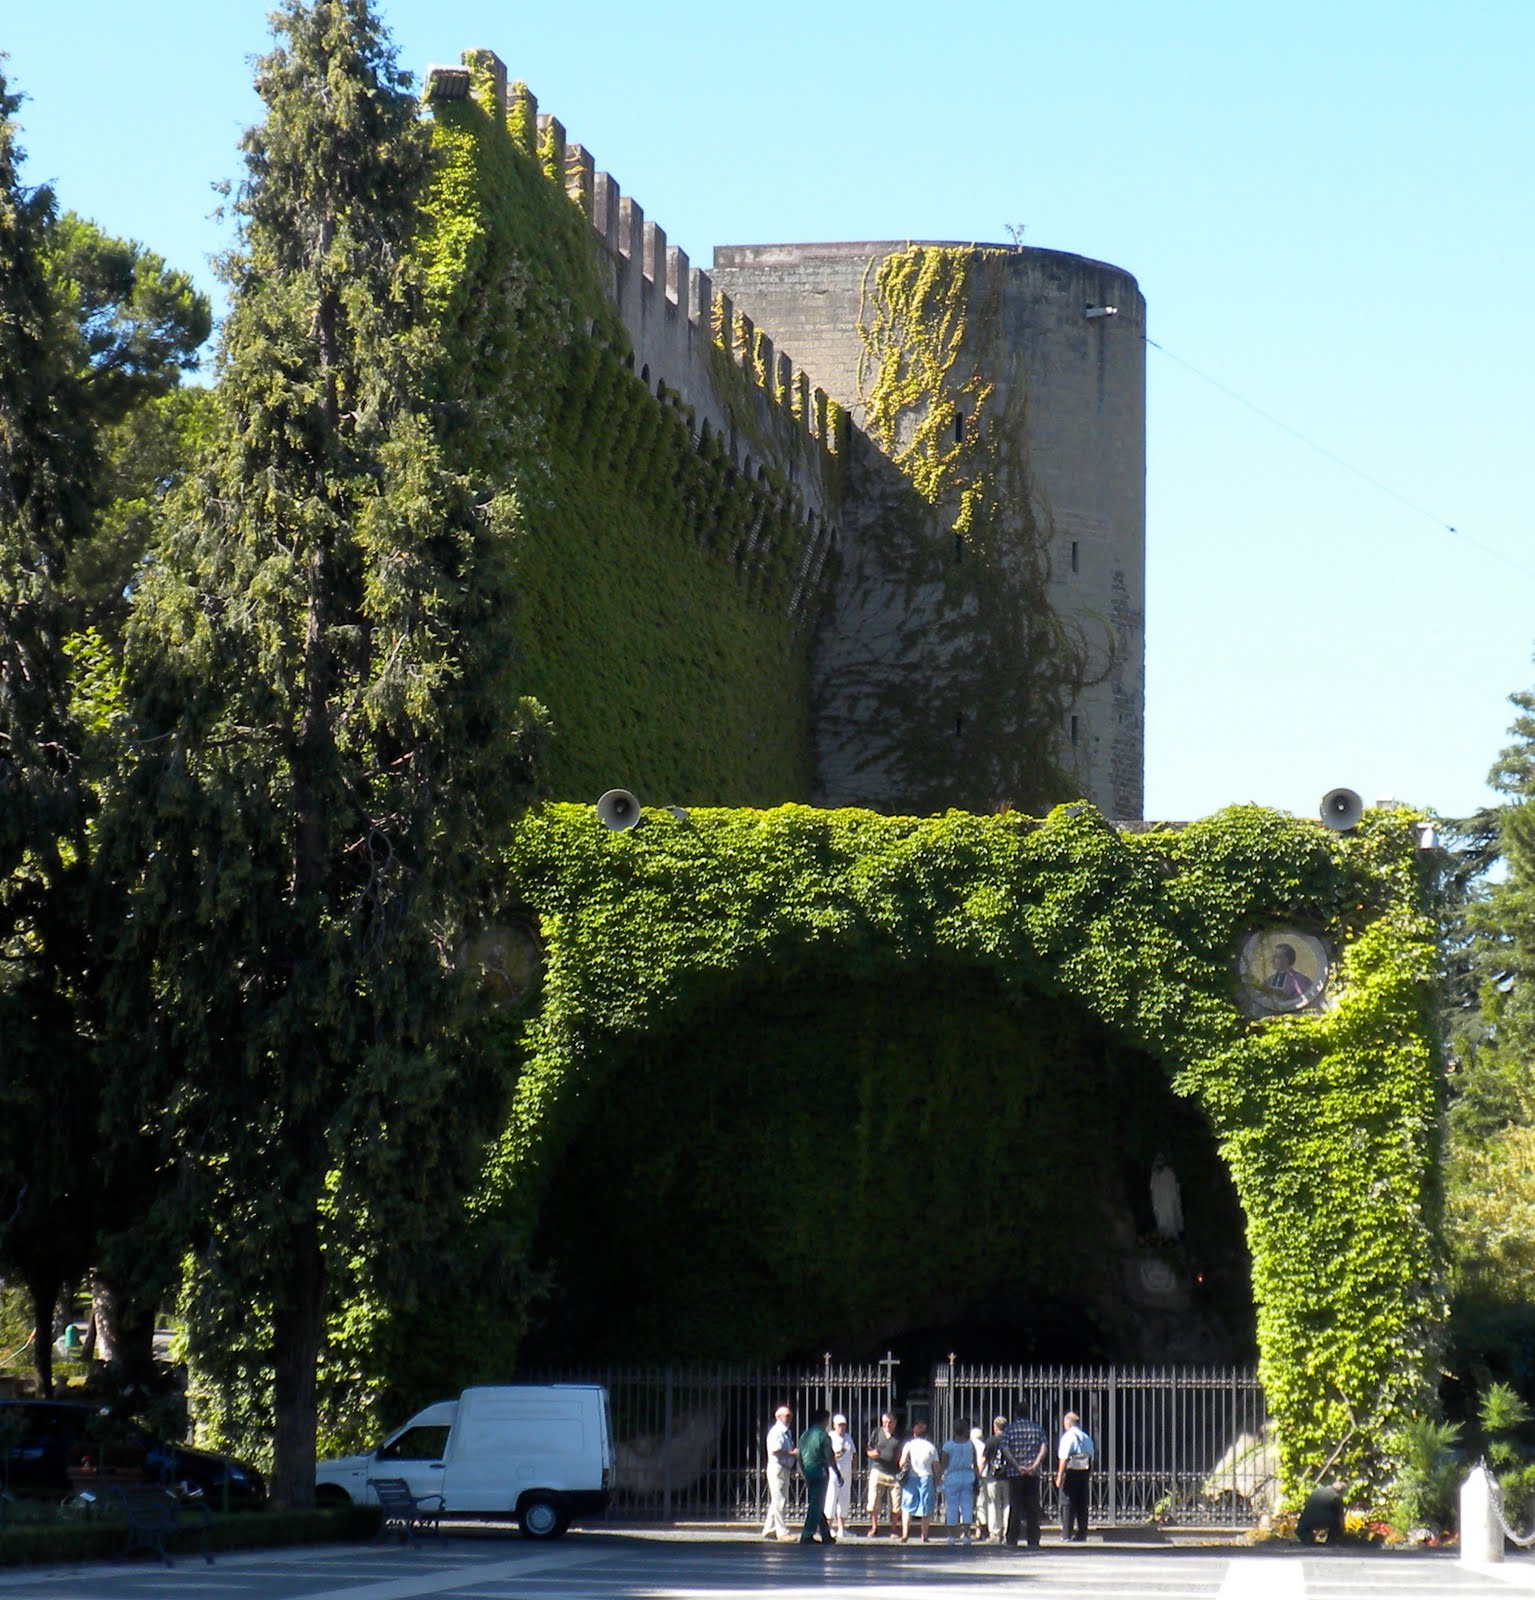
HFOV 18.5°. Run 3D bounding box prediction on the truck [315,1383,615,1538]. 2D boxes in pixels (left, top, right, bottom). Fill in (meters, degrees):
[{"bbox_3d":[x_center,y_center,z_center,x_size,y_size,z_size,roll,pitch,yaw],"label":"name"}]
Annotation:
[{"bbox_3d":[-3.224,7.714,55.216,2.692,1.717,1.648,3,-9,5],"label":"truck"}]
